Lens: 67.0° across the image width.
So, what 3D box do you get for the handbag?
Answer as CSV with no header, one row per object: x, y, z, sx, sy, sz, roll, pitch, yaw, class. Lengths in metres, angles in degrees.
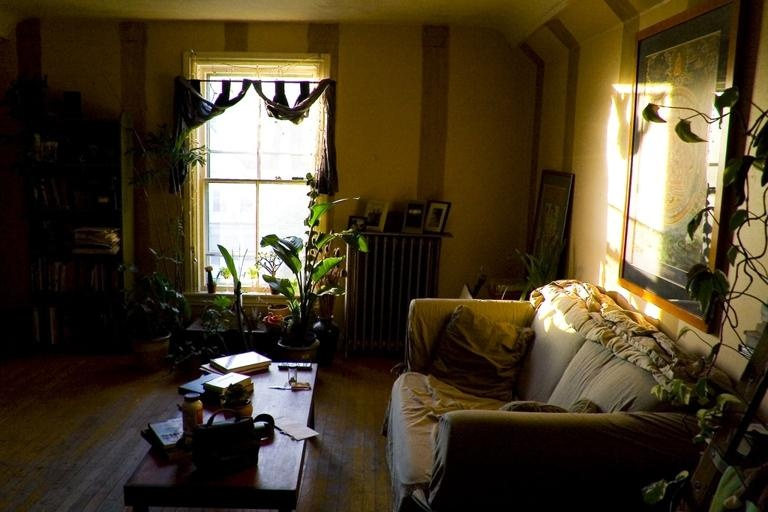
-0.963,1.117,3.538,0.395,0.346,0.207,-10,3,4,handbag

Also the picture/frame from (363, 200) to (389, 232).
-0.079,-0.426,6.229,0.302,0.410,0.028,5,-13,7,picture/frame

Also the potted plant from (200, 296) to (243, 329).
-1.668,0.572,6.064,0.387,0.390,0.395,4,46,-6,potted plant

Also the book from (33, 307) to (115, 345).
-3.346,0.775,6.100,0.793,0.427,0.186,5,1,-4,book

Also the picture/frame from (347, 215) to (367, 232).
-0.279,-0.352,6.222,0.199,0.192,0.049,0,-5,10,picture/frame

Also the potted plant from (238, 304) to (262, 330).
-1.408,0.641,6.193,0.188,0.288,0.297,0,10,0,potted plant

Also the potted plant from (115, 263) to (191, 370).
-2.492,0.579,6.074,0.897,1.231,0.905,0,1,3,potted plant

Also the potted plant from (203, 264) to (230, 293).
-1.871,0.239,6.452,0.293,0.354,0.281,3,7,18,potted plant

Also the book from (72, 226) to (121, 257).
-3.008,-0.154,6.053,0.365,0.184,0.296,3,1,-6,book

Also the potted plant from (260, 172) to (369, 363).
-0.688,0.091,5.997,0.998,1.839,1.023,1,8,5,potted plant

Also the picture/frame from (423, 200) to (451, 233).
0.550,-0.439,6.213,0.302,0.426,0.033,9,-13,18,picture/frame

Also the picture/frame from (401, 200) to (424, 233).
0.315,-0.422,6.158,0.215,0.329,0.119,0,8,2,picture/frame

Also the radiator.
0.101,0.399,5.814,1.004,1.362,0.407,3,2,0,radiator

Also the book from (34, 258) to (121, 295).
-3.265,0.225,6.143,0.813,0.406,0.190,-4,3,-6,book
